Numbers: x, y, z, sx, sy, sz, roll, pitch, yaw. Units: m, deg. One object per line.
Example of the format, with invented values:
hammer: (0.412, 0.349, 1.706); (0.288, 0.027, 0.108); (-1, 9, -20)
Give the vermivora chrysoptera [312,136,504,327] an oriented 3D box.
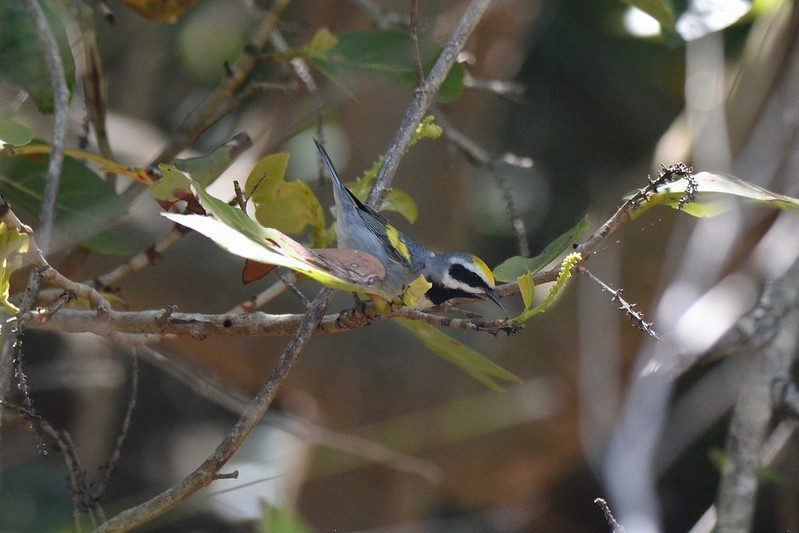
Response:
vermivora chrysoptera: (0.015, -0.066, 1.629); (0.413, 0.272, 0.138); (38, -16, 1)
